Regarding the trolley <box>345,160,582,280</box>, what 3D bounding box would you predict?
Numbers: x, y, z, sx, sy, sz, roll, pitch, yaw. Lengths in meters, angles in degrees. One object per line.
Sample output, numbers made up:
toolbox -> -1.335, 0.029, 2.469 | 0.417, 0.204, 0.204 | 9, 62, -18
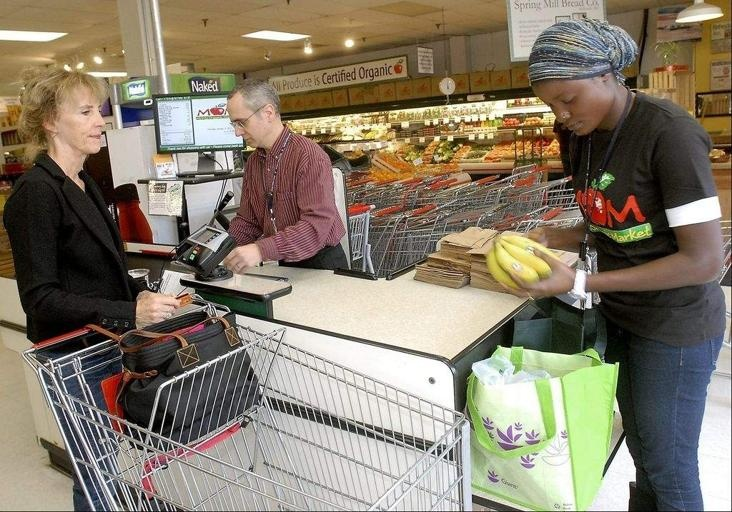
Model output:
trolley -> 0.972, -0.546, 5.876 | 1.653, 1.283, 2.613 | -9, 10, -13

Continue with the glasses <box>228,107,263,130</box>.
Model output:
glasses -> -0.707, -0.831, 2.928 | 0.150, 0.040, 0.142 | -35, 17, -12

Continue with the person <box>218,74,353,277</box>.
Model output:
person -> -0.480, -0.445, 2.951 | 0.741, 1.244, 0.854 | -8, 12, -14

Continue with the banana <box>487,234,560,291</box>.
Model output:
banana -> 0.627, 0.010, 1.992 | 0.251, 0.082, 0.190 | 21, 14, 7

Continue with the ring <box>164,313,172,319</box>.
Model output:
ring -> -0.826, 0.250, 2.051 | 0.012, 0.020, 0.020 | 30, 16, 19

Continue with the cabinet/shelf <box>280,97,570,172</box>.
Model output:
cabinet/shelf -> 2.090, -2.888, 11.787 | 5.359, 1.541, 0.788 | -3, -9, -16

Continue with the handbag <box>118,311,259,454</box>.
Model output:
handbag -> -0.639, 0.452, 1.802 | 0.489, 0.397, 0.316 | -11, 13, -28
